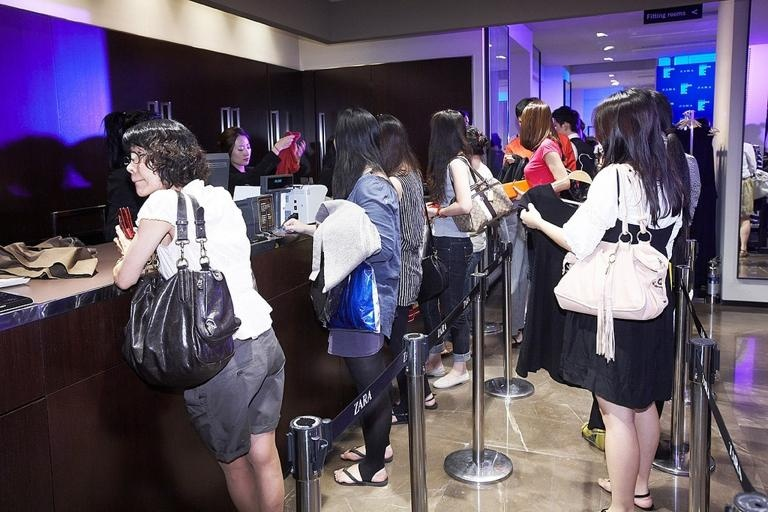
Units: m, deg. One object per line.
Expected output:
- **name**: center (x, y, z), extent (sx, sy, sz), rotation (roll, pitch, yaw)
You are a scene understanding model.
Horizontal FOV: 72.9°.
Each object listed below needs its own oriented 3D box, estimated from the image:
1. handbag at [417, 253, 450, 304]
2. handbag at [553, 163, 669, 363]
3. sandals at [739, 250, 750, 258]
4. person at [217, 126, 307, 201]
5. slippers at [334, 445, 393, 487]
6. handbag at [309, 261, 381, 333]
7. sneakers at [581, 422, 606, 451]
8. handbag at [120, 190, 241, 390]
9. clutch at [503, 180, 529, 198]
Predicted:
- **handbag**: center (0.308, 0.100, 3.418), extent (0.248, 0.239, 0.089), rotation (-10, 16, -30)
- **handbag**: center (1.046, 0.039, 2.389), extent (0.461, 0.882, 0.230), rotation (5, 16, 29)
- **sandals**: center (3.841, -0.034, 5.533), extent (0.041, 0.042, 0.114), rotation (-4, -6, 6)
- **person**: center (-1.124, -0.859, 4.734), extent (0.515, 0.360, 1.199), rotation (-15, -8, 9)
- **slippers**: center (-0.132, 1.271, 3.087), extent (0.221, 0.081, 0.275), rotation (2, 6, 0)
- **handbag**: center (-0.188, 0.203, 2.695), extent (0.330, 0.360, 0.142), rotation (5, 16, 13)
- **sneakers**: center (1.339, 1.141, 3.321), extent (0.066, 0.067, 0.155), rotation (-5, 13, -17)
- **handbag**: center (-0.811, 0.165, 2.083), extent (0.429, 0.748, 0.335), rotation (-4, -6, 22)
- **clutch**: center (1.040, -0.531, 4.075), extent (0.188, 0.189, 0.049), rotation (1, 9, -30)
